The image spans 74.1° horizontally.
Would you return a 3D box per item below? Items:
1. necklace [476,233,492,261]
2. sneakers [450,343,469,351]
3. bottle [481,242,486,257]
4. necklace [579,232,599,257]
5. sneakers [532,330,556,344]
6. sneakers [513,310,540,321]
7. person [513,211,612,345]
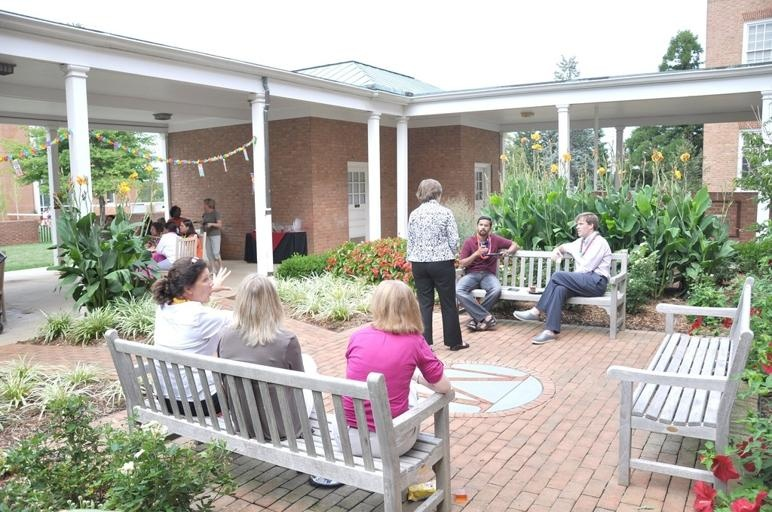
[{"bbox_3d":[1.485,-0.136,7.729,0.245,0.286,0.077,10,-6,-1],"label":"necklace"},{"bbox_3d":[0.989,1.194,6.827,0.261,0.101,0.093,-7,10,-37],"label":"sneakers"},{"bbox_3d":[1.468,-0.096,7.670,0.067,0.155,0.171,4,12,-6],"label":"bottle"},{"bbox_3d":[2.863,-0.157,7.303,0.117,0.320,0.246,23,-6,-23],"label":"necklace"},{"bbox_3d":[2.180,1.125,7.097,0.403,0.146,0.143,-1,0,-33],"label":"sneakers"},{"bbox_3d":[2.140,0.911,7.643,0.424,0.155,0.197,5,0,-9],"label":"sneakers"},{"bbox_3d":[2.599,0.281,7.241,1.194,1.680,0.612,-11,18,-34],"label":"person"}]
